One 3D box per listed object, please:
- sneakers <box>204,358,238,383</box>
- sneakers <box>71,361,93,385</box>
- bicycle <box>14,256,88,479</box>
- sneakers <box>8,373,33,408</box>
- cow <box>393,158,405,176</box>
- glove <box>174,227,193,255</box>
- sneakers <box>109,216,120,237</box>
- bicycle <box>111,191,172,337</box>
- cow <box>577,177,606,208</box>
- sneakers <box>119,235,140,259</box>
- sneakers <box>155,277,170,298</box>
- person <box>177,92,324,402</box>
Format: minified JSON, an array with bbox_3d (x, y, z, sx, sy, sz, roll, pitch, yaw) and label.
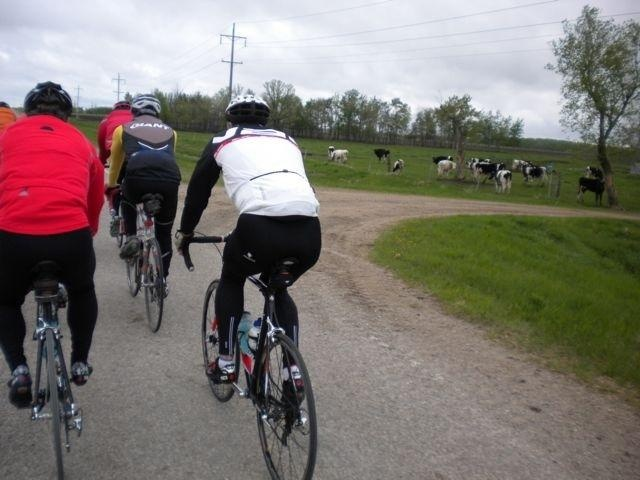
[{"bbox_3d":[-0.922,1.207,4.667,0.173,0.254,0.499,4,3,-28],"label":"sneakers"},{"bbox_3d":[-2.090,1.175,4.449,0.145,0.222,0.207,4,-8,-27],"label":"sneakers"},{"bbox_3d":[-2.151,0.973,4.064,0.564,1.088,1.637,-3,11,-22],"label":"bicycle"},{"bbox_3d":[-2.367,1.195,3.999,0.125,0.351,0.165,4,38,-33],"label":"sneakers"},{"bbox_3d":[5.330,-4.966,34.848,0.725,0.968,1.503,11,-3,-7],"label":"cow"},{"bbox_3d":[-1.261,0.036,4.653,0.169,0.254,0.209,3,13,-13],"label":"glove"},{"bbox_3d":[-3.562,-0.201,8.689,0.172,0.261,0.610,1,-11,-21],"label":"sneakers"},{"bbox_3d":[-2.622,0.238,6.674,0.670,1.234,1.947,-2,24,-25],"label":"bicycle"},{"bbox_3d":[15.507,-2.781,28.633,1.323,1.365,2.311,6,14,6],"label":"cow"},{"bbox_3d":[-2.402,0.123,6.351,0.179,0.183,0.381,22,-36,-25],"label":"sneakers"},{"bbox_3d":[-1.922,0.576,6.259,0.152,0.220,0.321,-5,4,-35],"label":"sneakers"},{"bbox_3d":[-0.537,0.198,4.301,1.340,2.744,0.663,11,15,28],"label":"person"}]
